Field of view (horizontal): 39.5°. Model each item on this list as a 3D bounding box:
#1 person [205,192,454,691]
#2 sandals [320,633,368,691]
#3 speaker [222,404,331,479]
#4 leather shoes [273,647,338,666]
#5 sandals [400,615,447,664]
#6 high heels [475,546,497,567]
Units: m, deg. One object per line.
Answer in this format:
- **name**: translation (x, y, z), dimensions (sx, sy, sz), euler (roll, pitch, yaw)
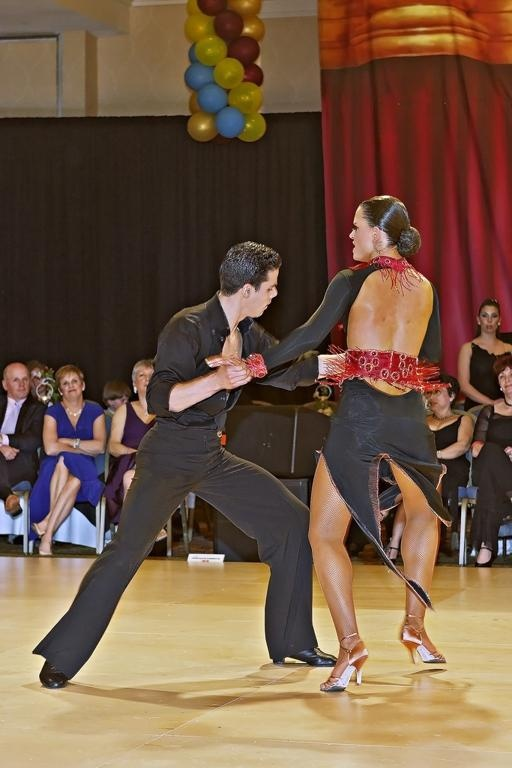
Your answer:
- **person**: translation (0.310, 0.136, 2.074), dimensions (0.378, 1.385, 0.599), euler (-9, -13, 44)
- **sandals**: translation (0.233, 0.728, 1.893), dimensions (0.075, 0.109, 0.210), euler (-19, -1, 30)
- **speaker**: translation (0.140, 0.324, 4.557), dimensions (0.859, 0.546, 0.447), euler (1, -2, 9)
- **leather shoes**: translation (0.151, 0.856, 2.220), dimensions (0.175, 0.064, 0.070), euler (-8, -4, 11)
- **sandals**: translation (0.499, 0.765, 2.109), dimensions (0.083, 0.127, 0.246), euler (-4, -25, 40)
- **high heels**: translation (1.413, 1.062, 4.400), dimensions (0.121, 0.128, 0.344), euler (-1, -12, 17)
